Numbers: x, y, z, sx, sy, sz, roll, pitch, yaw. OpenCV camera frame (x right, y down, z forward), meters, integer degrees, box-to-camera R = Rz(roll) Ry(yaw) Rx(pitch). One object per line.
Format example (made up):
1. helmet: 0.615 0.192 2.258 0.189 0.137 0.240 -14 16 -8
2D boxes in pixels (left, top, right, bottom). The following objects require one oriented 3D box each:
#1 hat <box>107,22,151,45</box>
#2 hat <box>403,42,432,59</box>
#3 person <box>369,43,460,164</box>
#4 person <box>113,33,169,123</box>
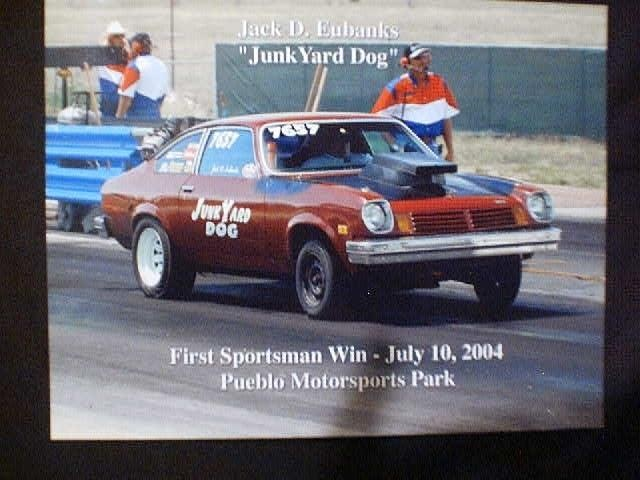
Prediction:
1. hat: -1.392 -1.459 7.492 0.179 0.127 0.148 2 9 -4
2. hat: 0.670 -1.348 7.571 0.135 0.087 0.104 -20 0 44
3. person: 0.717 -0.781 7.811 0.557 1.369 0.331 -5 31 2
4. person: -1.266 -1.170 7.518 0.317 0.763 0.269 -13 56 -25
